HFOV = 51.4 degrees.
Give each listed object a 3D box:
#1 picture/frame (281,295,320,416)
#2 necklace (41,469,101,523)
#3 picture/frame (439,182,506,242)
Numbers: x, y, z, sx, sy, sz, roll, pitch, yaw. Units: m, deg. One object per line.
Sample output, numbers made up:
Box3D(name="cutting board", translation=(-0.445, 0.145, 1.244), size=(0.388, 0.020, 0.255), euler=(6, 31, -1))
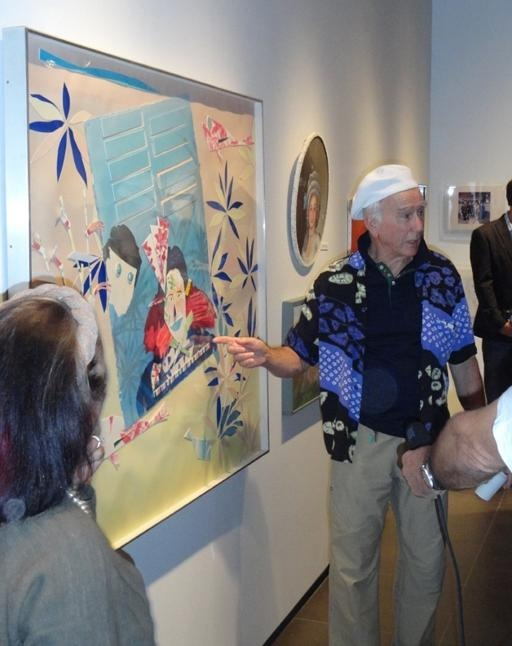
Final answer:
Box3D(name="picture/frame", translation=(0.250, 0.194, 2.678), size=(0.042, 0.588, 0.510), euler=(-2, -2, 19))
Box3D(name="necklace", translation=(-0.262, 0.253, 0.774), size=(0.056, 0.064, 0.016), euler=(-34, 57, -25))
Box3D(name="picture/frame", translation=(2.313, -1.211, 5.647), size=(0.717, 0.830, 0.064), euler=(1, 6, 16))
